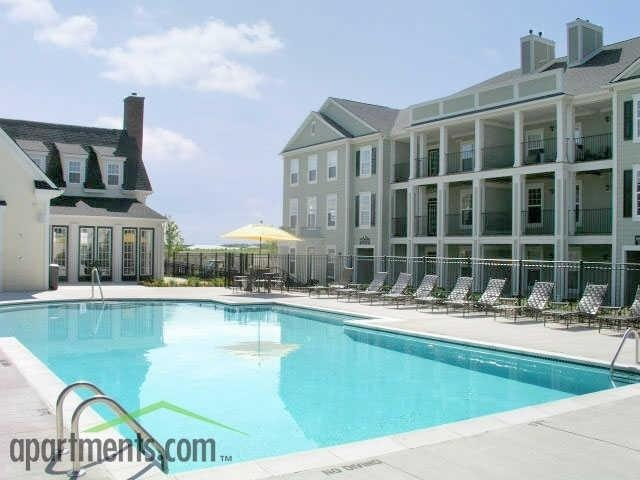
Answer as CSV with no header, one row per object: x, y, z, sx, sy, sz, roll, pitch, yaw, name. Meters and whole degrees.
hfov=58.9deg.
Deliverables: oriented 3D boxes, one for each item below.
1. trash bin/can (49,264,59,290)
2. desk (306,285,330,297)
-12.803,1.736,27.145,0.361,1.159,0.783,0,-3,-27,trash bin/can
-0.073,2.419,27.673,1.004,0.411,1.764,-1,-3,-1,desk
